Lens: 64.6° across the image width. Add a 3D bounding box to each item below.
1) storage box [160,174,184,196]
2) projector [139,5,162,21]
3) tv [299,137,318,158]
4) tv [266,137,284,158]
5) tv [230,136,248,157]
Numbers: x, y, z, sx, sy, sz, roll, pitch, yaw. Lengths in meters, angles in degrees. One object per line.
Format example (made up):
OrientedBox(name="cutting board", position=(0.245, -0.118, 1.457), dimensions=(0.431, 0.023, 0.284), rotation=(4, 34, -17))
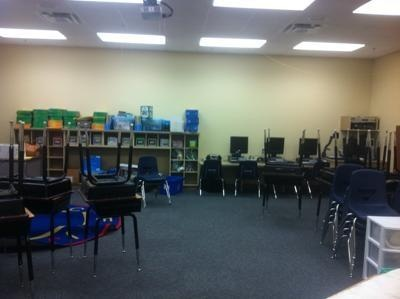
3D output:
OrientedBox(name="storage box", position=(-0.611, 0.866, 7.800), dimensions=(0.360, 0.277, 0.557), rotation=(1, 2, 6))
OrientedBox(name="projector", position=(-0.777, -2.204, 5.116), dimensions=(0.202, 0.083, 0.218), rotation=(0, 5, 17))
OrientedBox(name="tv", position=(2.665, -0.037, 7.793), dimensions=(0.537, 0.540, 0.133), rotation=(2, -1, -1))
OrientedBox(name="tv", position=(1.883, -0.062, 7.999), dimensions=(0.486, 0.524, 0.271), rotation=(1, 0, -3))
OrientedBox(name="tv", position=(1.000, -0.087, 8.244), dimensions=(0.509, 0.617, 0.193), rotation=(0, 0, -3))
